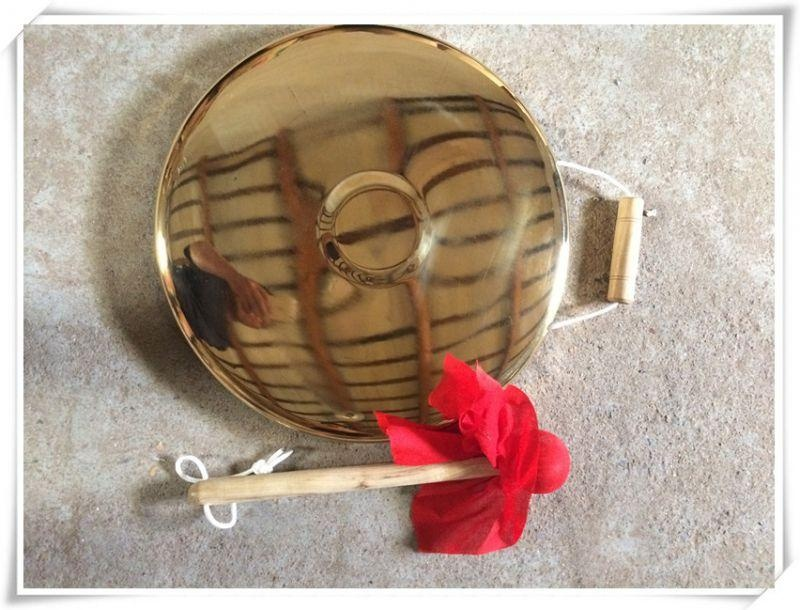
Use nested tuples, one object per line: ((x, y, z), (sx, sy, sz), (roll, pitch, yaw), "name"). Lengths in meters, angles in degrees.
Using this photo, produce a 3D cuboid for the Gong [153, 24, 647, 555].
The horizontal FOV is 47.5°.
((-0.025, -0.010, 1.463), (0.798, 0.192, 0.847), (17, 85, 2), "Gong")
